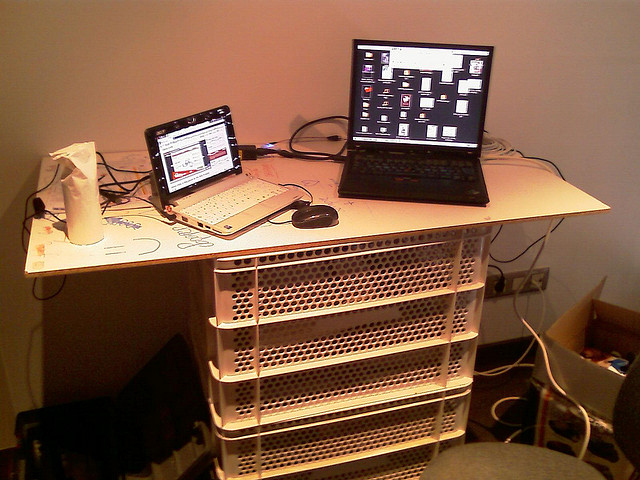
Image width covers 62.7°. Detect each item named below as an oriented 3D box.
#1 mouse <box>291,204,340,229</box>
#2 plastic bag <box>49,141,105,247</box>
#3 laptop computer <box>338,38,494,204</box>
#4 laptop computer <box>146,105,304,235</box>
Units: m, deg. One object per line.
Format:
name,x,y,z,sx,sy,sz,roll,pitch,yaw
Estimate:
mouse,-0.013,-0.060,1.373,0.105,0.033,0.059,-4,39,-6
plastic bag,-0.598,-0.103,1.309,0.135,0.230,0.109,-9,4,-36
laptop computer,0.261,-0.381,1.686,0.555,0.506,0.458,6,28,11
laptop computer,-0.254,-0.207,1.446,0.327,0.227,0.370,13,31,15
